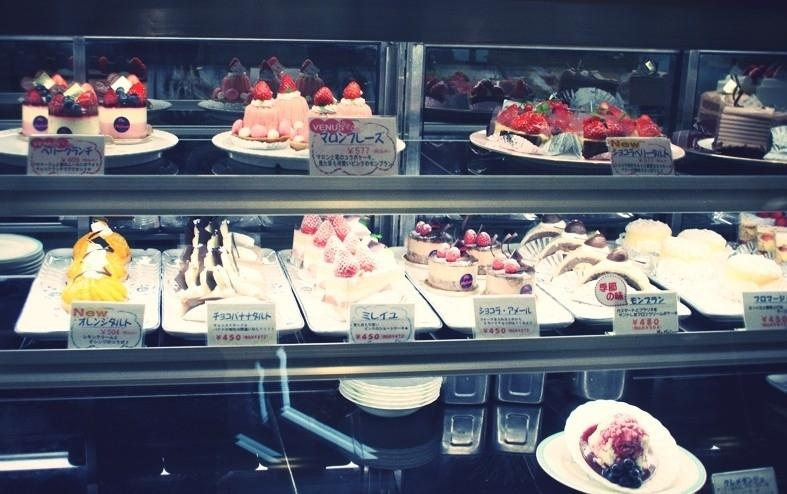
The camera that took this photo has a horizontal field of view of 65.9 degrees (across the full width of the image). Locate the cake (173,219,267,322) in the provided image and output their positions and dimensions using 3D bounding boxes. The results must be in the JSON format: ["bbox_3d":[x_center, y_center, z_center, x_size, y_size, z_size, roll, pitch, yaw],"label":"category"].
[{"bbox_3d":[-0.708,0.094,2.392,0.360,0.183,0.527,-2,28,-7],"label":"cake"}]

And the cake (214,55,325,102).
[{"bbox_3d":[-0.616,-0.800,2.906,0.369,0.130,0.347,-4,20,-8],"label":"cake"}]

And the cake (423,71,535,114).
[{"bbox_3d":[0.398,-0.746,2.916,0.359,0.107,0.327,-6,16,-24],"label":"cake"}]

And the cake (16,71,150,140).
[{"bbox_3d":[-1.097,-0.484,2.199,0.416,0.182,0.434,8,13,26],"label":"cake"}]

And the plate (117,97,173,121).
[{"bbox_3d":[-1.108,-0.641,2.788,0.207,0.060,0.195,2,24,-1],"label":"plate"}]

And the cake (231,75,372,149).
[{"bbox_3d":[-0.366,-0.555,2.516,0.469,0.149,0.472,1,18,3],"label":"cake"}]

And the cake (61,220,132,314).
[{"bbox_3d":[-1.182,0.087,2.407,0.158,0.128,0.369,0,29,-17],"label":"cake"}]
